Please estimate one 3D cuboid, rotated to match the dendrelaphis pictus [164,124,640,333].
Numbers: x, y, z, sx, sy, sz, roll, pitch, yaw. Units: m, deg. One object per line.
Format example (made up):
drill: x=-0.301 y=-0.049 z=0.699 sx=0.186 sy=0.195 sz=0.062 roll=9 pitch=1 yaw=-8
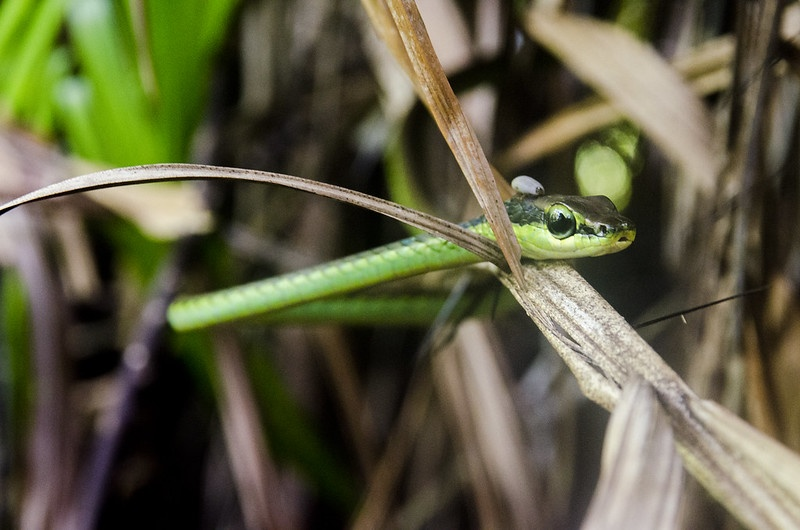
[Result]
dendrelaphis pictus: x=0.006 y=0.003 z=0.906 sx=0.399 sy=0.072 sz=0.215 roll=-15 pitch=4 yaw=19
